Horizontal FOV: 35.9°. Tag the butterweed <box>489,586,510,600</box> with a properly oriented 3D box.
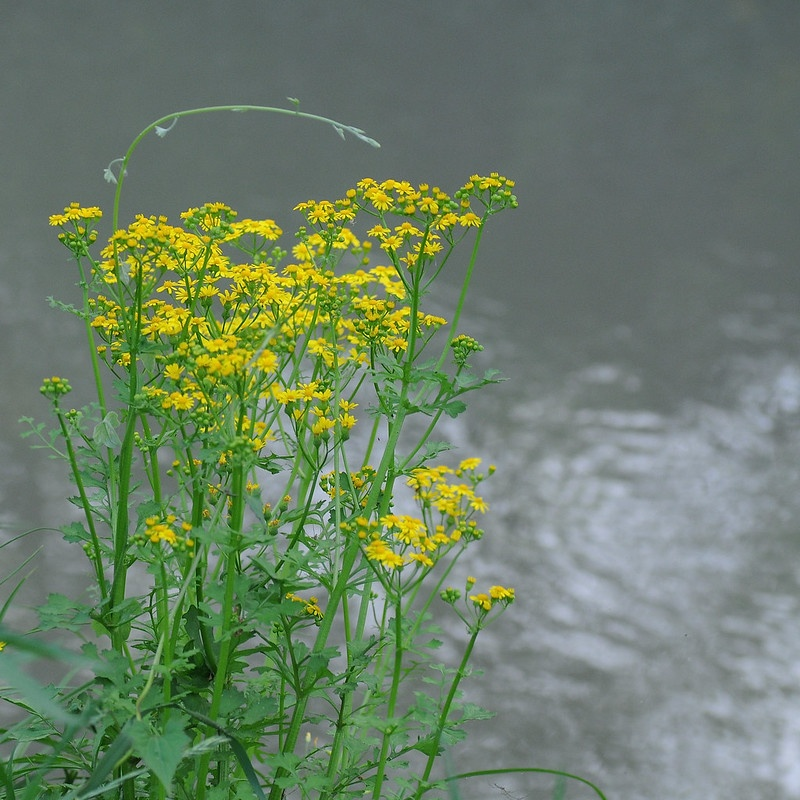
[{"bbox_3d":[0.195,0.365,2.342,0.039,0.013,0.033,8,-2,3],"label":"butterweed"}]
